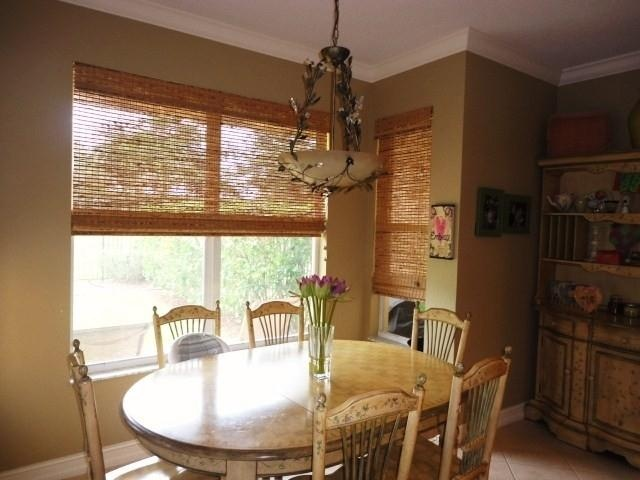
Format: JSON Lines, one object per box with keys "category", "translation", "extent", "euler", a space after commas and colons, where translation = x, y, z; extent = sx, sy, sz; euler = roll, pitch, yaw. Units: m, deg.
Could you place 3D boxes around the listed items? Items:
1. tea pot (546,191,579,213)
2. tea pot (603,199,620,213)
{"category": "tea pot", "translation": [2.219, -0.356, 4.451], "extent": [0.235, 0.175, 0.154], "euler": [-1, 2, 9]}
{"category": "tea pot", "translation": [2.487, -0.288, 4.151], "extent": [0.111, 0.102, 0.096], "euler": [-2, 13, -11]}
